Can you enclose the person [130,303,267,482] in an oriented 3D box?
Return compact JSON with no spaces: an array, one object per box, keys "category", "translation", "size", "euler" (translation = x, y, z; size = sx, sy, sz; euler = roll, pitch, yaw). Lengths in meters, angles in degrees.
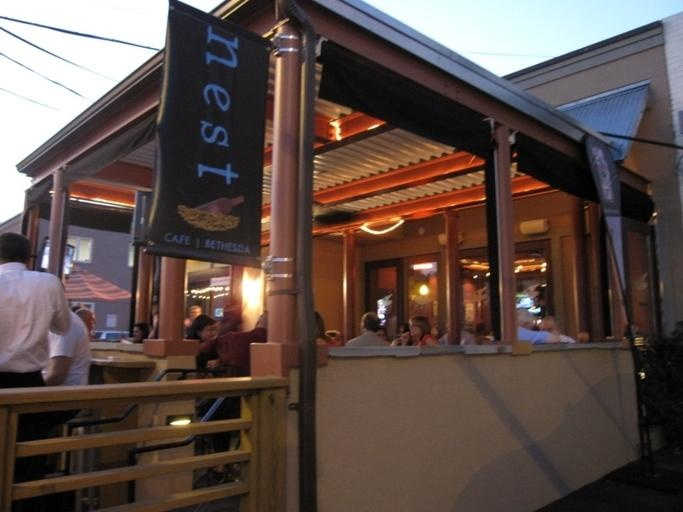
[{"category":"person","translation":[-1.110,1.293,5.597],"size":[0.738,1.538,2.915],"euler":[1,-8,-12]}]
